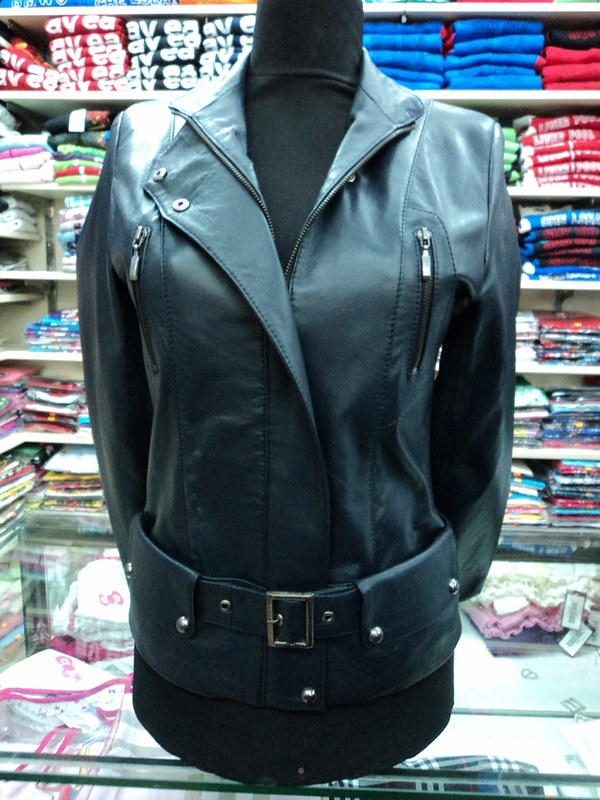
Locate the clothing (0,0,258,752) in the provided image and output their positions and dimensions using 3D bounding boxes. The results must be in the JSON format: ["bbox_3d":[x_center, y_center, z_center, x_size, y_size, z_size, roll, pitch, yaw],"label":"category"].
[{"bbox_3d":[-0.086,-0.049,0.868,0.427,0.703,0.258,2,11,6],"label":"clothing"}]
